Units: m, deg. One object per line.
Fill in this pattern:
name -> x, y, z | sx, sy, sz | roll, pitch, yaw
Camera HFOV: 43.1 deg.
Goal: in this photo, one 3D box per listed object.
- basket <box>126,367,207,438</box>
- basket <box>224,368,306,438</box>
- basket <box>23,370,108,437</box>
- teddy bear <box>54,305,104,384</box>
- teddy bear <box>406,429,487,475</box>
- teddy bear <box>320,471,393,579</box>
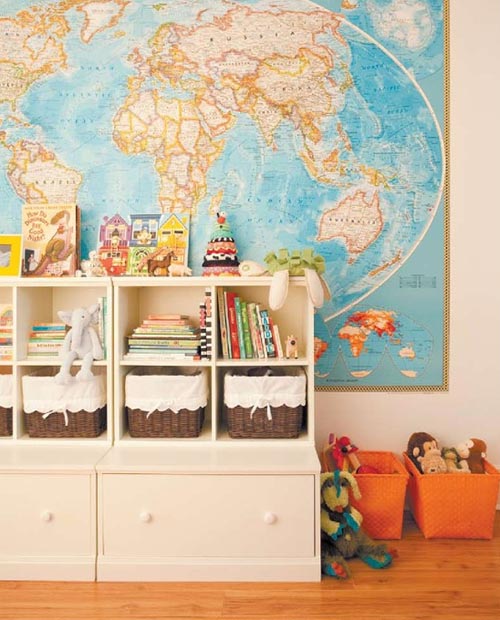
basket -> -0.355, 0.404, 2.725 | 0.361, 0.210, 0.273 | 1, 0, -4
basket -> 0.056, 0.365, 2.753 | 0.410, 0.279, 0.278 | 0, -4, -2
basket -> -0.783, 0.401, 2.743 | 0.331, 0.200, 0.296 | 1, 0, -3
teddy bear -> -0.729, 0.137, 2.669 | 0.230, 0.287, 0.231 | 3, 17, 33
teddy bear -> 0.882, 0.617, 2.800 | 0.231, 0.129, 0.215 | 0, -7, -1
teddy bear -> 0.400, 0.834, 2.516 | 0.328, 0.349, 0.336 | -5, -2, -2
